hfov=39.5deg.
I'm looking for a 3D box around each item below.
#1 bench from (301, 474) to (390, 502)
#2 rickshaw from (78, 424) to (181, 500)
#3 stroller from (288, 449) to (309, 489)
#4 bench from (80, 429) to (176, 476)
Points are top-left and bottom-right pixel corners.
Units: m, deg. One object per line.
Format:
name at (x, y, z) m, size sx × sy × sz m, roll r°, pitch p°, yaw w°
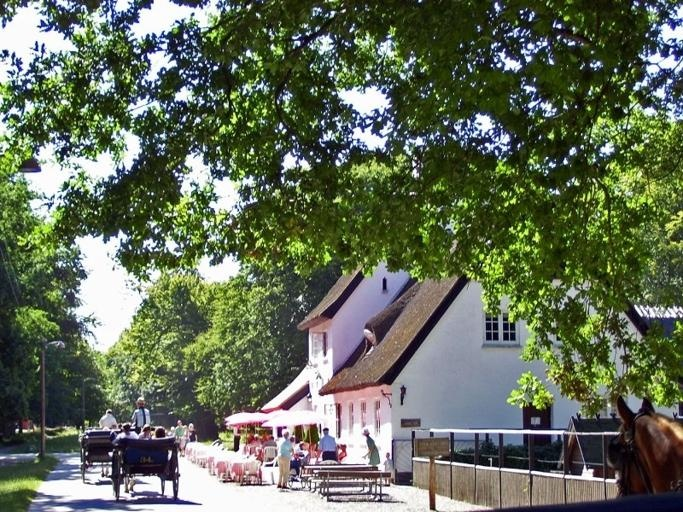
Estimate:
bench at (0.137, 7.321, 30.767) m, size 2.421 × 0.900 × 4.803 m, roll 0°, pitch -9°, yaw -2°
rickshaw at (-6.123, 5.946, 28.083) m, size 2.449 × 3.708 × 3.448 m, roll 3°, pitch -6°, yaw -20°
stroller at (-1.714, 7.999, 35.672) m, size 0.580 × 1.562 × 1.141 m, roll 3°, pitch -2°, yaw -9°
bench at (-7.085, 6.570, 30.893) m, size 2.265 × 1.718 × 9.918 m, roll 2°, pitch -10°, yaw -19°
